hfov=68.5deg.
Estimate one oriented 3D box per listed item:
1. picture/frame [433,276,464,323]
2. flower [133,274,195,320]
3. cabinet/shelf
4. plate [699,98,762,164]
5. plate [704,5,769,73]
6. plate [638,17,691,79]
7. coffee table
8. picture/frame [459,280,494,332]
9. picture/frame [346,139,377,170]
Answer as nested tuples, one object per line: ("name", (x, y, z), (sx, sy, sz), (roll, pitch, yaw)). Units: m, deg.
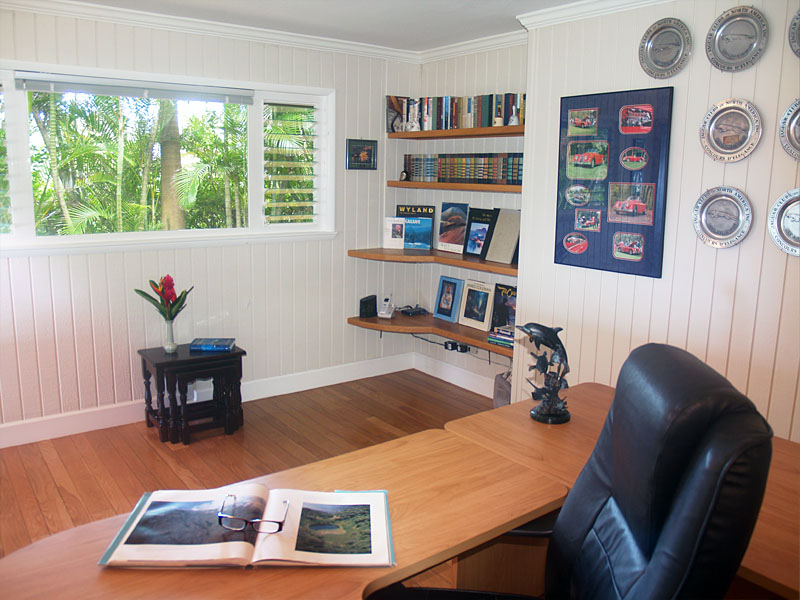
("picture/frame", (0.433, 0.010, 5.067), (0.061, 0.464, 0.337), (8, 1, -36))
("flower", (-1.640, -0.014, 4.120), (0.351, 0.256, 0.325), (-3, 4, -30))
("cabinet/shelf", (0.312, -0.541, 4.923), (1.765, 1.711, 0.534), (8, 10, 41))
("plate", (1.748, -0.889, 3.102), (0.064, 0.287, 0.275), (-5, 25, -38))
("plate", (1.745, -1.348, 3.048), (0.066, 0.287, 0.275), (-3, 8, -35))
("plate", (1.493, -1.403, 3.318), (0.071, 0.293, 0.276), (-7, 20, -37))
("coffee table", (-1.422, 0.658, 4.183), (0.561, 0.496, 0.437), (-7, 11, -33))
("picture/frame", (0.641, 0.061, 4.829), (0.033, 0.463, 0.380), (6, 0, -33))
("picture/frame", (-0.340, -1.241, 5.013), (0.263, 0.226, 0.029), (-4, 13, -32))
